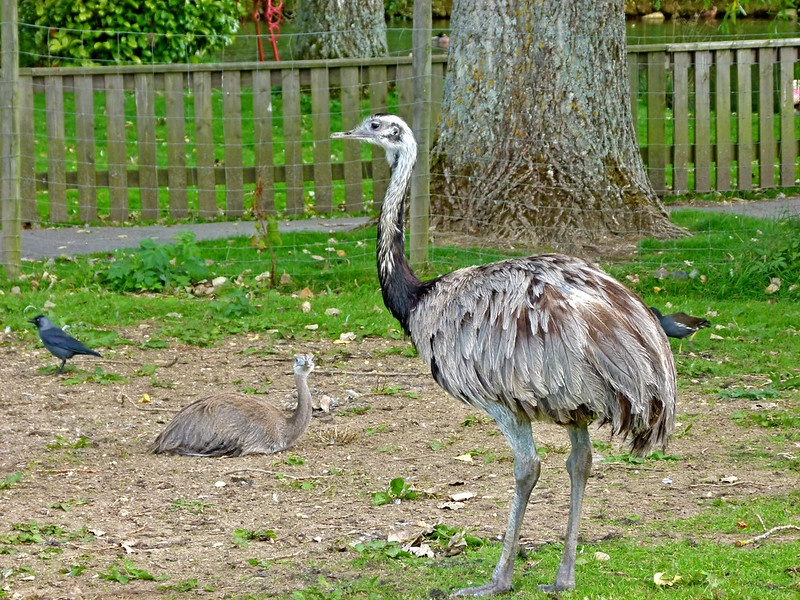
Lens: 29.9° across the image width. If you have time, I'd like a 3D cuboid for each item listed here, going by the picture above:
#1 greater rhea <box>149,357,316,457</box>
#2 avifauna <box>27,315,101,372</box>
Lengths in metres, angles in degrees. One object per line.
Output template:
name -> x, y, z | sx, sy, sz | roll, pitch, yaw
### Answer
greater rhea -> -1.410, 1.004, 12.848 | 1.461, 1.107, 0.624 | 0, 3, -2
avifauna -> -3.082, 0.406, 13.802 | 0.486, 0.526, 0.737 | -5, 8, -24
